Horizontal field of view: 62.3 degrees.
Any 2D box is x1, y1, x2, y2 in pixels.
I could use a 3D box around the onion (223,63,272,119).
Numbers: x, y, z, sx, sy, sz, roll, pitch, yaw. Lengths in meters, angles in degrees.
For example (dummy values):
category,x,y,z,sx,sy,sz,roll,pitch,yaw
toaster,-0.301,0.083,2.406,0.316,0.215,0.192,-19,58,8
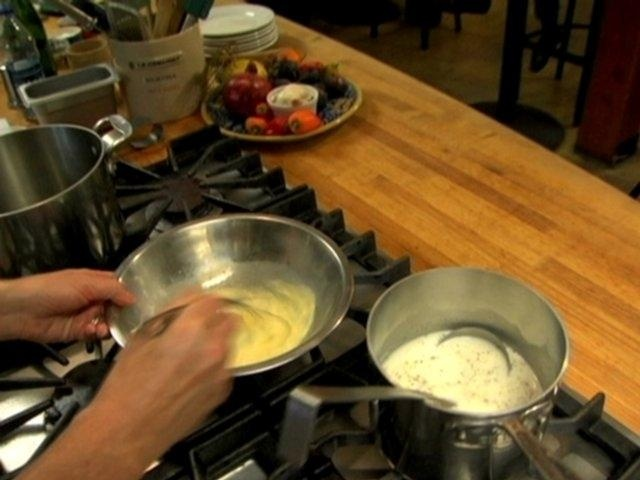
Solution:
category,x,y,z,sx,sy,sz,roll,pitch,yaw
onion,-0.194,-0.405,1.369,0.116,0.137,0.112,-22,31,-17
